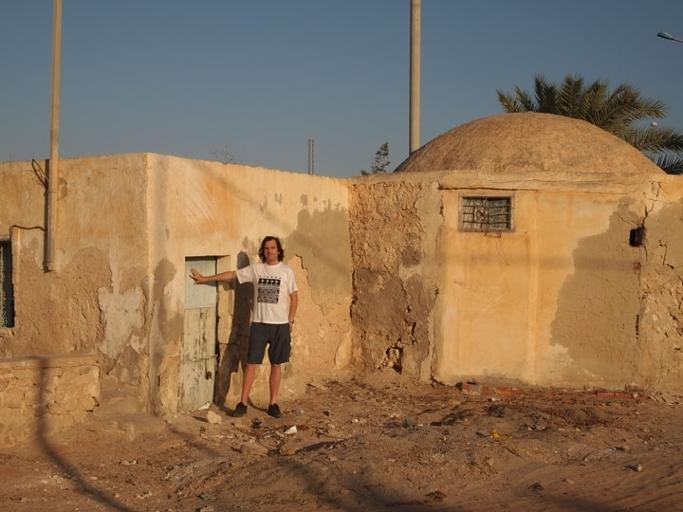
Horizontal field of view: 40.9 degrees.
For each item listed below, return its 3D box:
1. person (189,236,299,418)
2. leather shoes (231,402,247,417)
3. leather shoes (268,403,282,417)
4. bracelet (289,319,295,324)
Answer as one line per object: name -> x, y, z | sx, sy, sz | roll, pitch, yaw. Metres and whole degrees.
person -> -1.087, 0.827, 11.269 | 1.026, 2.182, 0.754 | 3, 4, -5
leather shoes -> -1.239, 1.837, 11.155 | 0.182, 0.180, 0.252 | 3, 4, -8
leather shoes -> -0.810, 1.870, 11.203 | 0.103, 0.134, 0.194 | 1, -5, -27
bracelet -> -0.614, 0.788, 11.229 | 0.063, 0.064, 0.070 | 0, -4, 40
